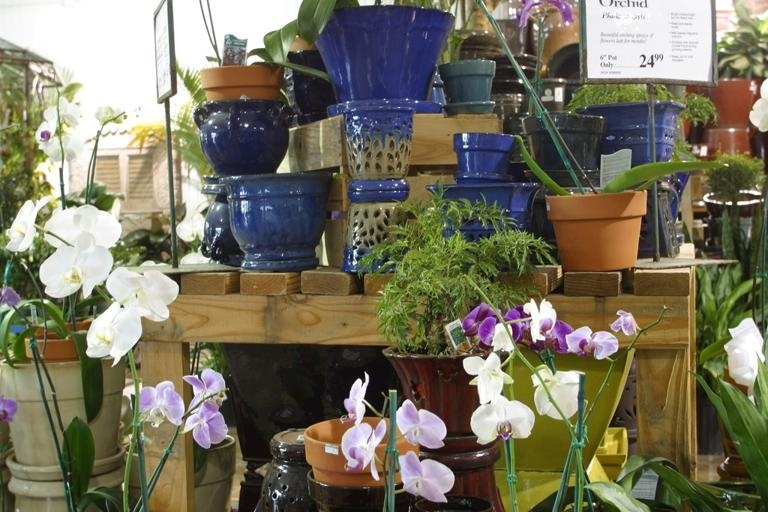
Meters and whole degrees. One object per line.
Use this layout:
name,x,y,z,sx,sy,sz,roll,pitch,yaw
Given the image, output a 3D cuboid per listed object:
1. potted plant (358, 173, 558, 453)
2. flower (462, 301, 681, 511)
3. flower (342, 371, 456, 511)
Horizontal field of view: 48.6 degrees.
potted plant,0.113,0.178,2.531,0.623,0.862,0.612,1,-8,-10
flower,0.509,0.401,2.320,0.531,0.775,0.333,0,-8,7
flower,0.046,0.478,2.138,0.292,0.449,0.140,10,20,31
